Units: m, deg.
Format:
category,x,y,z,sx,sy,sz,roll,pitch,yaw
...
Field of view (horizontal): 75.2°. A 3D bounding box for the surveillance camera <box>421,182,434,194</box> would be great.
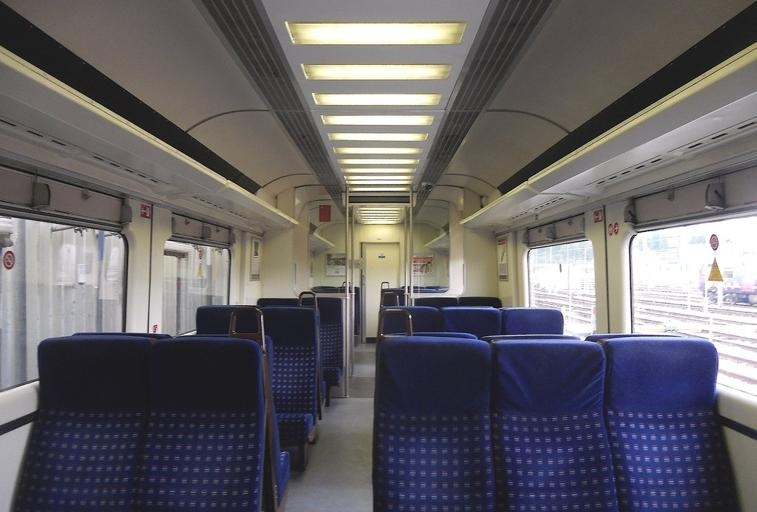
category,x,y,z,sx,sy,sz,roll,pitch,yaw
surveillance camera,0.845,-1.209,8.525,0.129,0.105,0.120,20,6,4
